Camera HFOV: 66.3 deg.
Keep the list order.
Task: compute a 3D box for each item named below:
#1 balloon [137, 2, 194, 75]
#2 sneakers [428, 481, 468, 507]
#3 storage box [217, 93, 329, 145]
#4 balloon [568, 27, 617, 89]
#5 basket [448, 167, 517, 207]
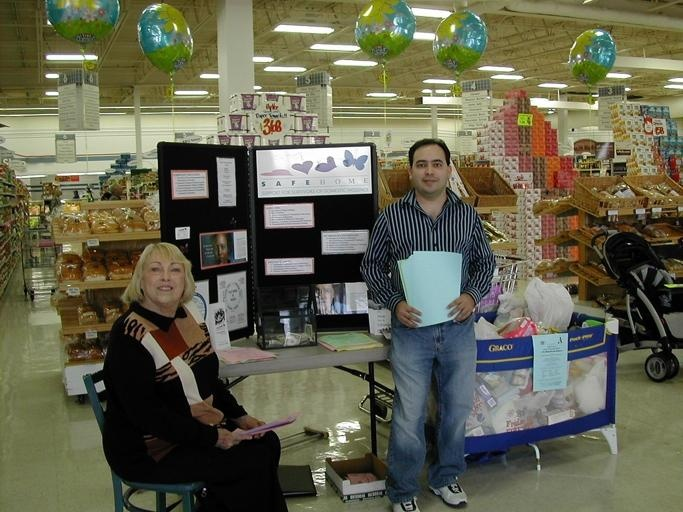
[{"bbox_3d":[-2.037,-2.442,6.009,0.618,0.778,0.467,-25,17,-25],"label":"balloon"},{"bbox_3d":[0.688,1.500,3.356,0.108,0.137,0.290,2,-2,-27],"label":"sneakers"},{"bbox_3d":[-1.043,-1.959,7.494,1.484,0.754,0.491,-6,7,-13],"label":"storage box"},{"bbox_3d":[3.726,-2.889,7.806,0.644,0.825,0.655,1,-5,36],"label":"balloon"},{"bbox_3d":[1.992,-0.943,6.963,0.564,0.255,0.785,1,24,-2],"label":"basket"}]
